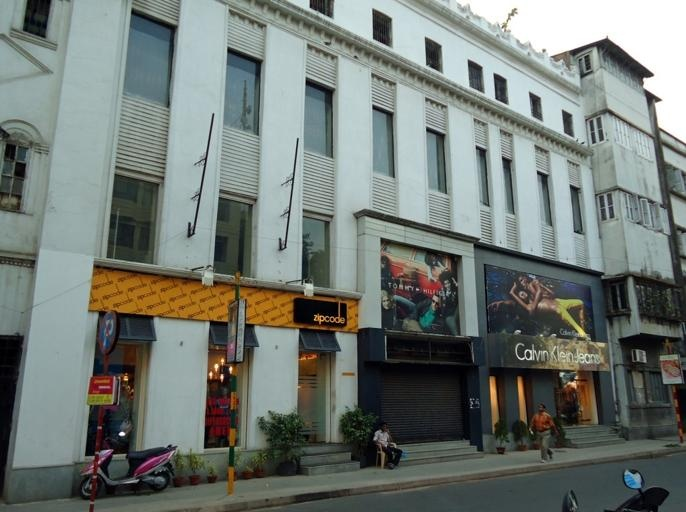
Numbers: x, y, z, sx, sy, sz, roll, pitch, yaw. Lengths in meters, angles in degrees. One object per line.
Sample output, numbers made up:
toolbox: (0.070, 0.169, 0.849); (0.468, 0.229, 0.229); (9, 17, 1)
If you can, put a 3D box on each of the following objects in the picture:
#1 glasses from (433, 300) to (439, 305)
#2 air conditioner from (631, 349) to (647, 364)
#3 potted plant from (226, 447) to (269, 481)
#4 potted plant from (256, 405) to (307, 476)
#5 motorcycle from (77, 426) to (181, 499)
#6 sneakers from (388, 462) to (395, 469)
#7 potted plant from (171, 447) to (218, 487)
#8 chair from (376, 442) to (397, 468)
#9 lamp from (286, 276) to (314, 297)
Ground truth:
glasses: (4.156, 2.098, 23.434); (0.099, 0.211, 0.350); (-11, -17, 37)
air conditioner: (17.529, 5.973, 30.979); (1.191, 0.854, 0.323); (8, -15, -30)
potted plant: (-3.255, 7.232, 17.955); (1.138, 0.908, 0.884); (8, -32, -18)
potted plant: (-2.323, 6.613, 18.758); (2.085, 2.666, 1.703); (11, -24, -32)
motorcycle: (-6.183, 6.066, 15.440); (2.684, 2.048, 1.498); (9, -25, -23)
sneakers: (1.795, 7.830, 19.461); (0.103, 0.211, 0.287); (48, -31, -22)
potted plant: (-4.844, 6.817, 16.746); (1.165, 1.073, 0.522); (19, -34, -41)
chair: (1.568, 7.594, 19.756); (0.769, 1.241, 0.922); (-4, -12, 10)
lamp: (-1.469, 1.124, 19.613); (0.722, 0.854, 0.234); (10, 11, -5)
